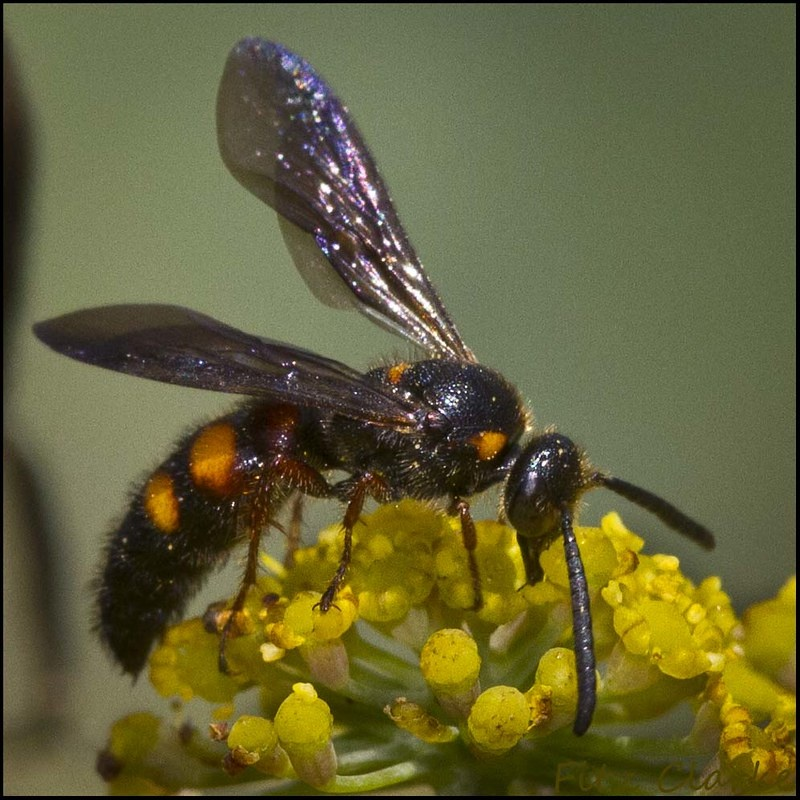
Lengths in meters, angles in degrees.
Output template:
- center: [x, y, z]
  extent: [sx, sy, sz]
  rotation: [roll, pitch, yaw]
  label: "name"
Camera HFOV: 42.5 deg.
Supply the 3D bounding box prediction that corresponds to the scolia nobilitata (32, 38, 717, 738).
- center: [-0.265, -0.010, 1.954]
  extent: [1.373, 1.149, 0.789]
  rotation: [-18, 13, -25]
  label: "scolia nobilitata"
